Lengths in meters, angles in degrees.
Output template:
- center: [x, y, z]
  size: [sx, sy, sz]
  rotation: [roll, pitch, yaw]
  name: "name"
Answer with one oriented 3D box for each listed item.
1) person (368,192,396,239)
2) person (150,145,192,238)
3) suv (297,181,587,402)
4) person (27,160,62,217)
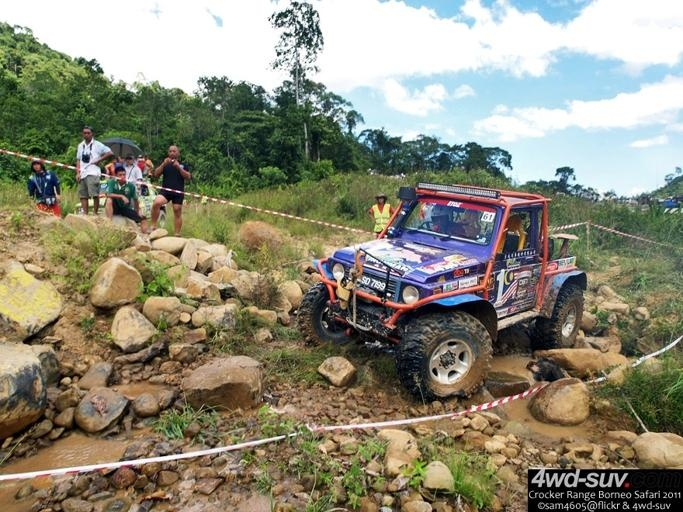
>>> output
- center: [0.959, -0.910, 12.643]
  size: [0.583, 1.263, 0.403]
  rotation: [0, 22, 7]
  name: "person"
- center: [-3.716, -1.451, 11.403]
  size: [0.757, 2.062, 0.655]
  rotation: [3, -18, -19]
  name: "person"
- center: [1.803, 0.394, 8.571]
  size: [4.132, 2.681, 2.547]
  rotation: [0, 1, -39]
  name: "suv"
- center: [-5.999, -1.374, 10.581]
  size: [0.572, 1.091, 1.315]
  rotation: [-2, 14, -31]
  name: "person"
